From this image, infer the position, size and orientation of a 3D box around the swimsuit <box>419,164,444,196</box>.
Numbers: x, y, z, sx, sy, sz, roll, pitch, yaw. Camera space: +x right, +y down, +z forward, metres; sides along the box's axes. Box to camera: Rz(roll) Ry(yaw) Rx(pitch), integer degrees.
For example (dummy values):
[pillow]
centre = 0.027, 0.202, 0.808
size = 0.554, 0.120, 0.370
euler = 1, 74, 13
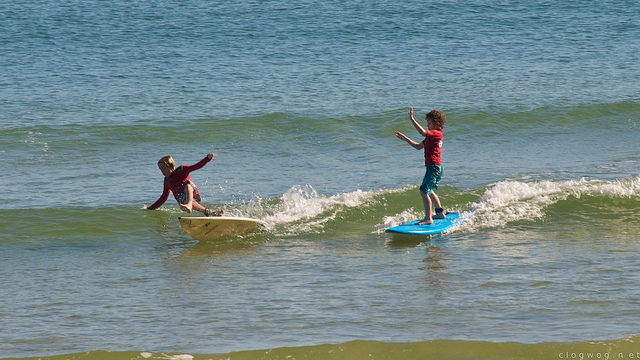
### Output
[swimsuit]
centre = 5.271, 0.016, 58.487
size = 1.060, 1.532, 0.492
euler = -4, 13, 7
